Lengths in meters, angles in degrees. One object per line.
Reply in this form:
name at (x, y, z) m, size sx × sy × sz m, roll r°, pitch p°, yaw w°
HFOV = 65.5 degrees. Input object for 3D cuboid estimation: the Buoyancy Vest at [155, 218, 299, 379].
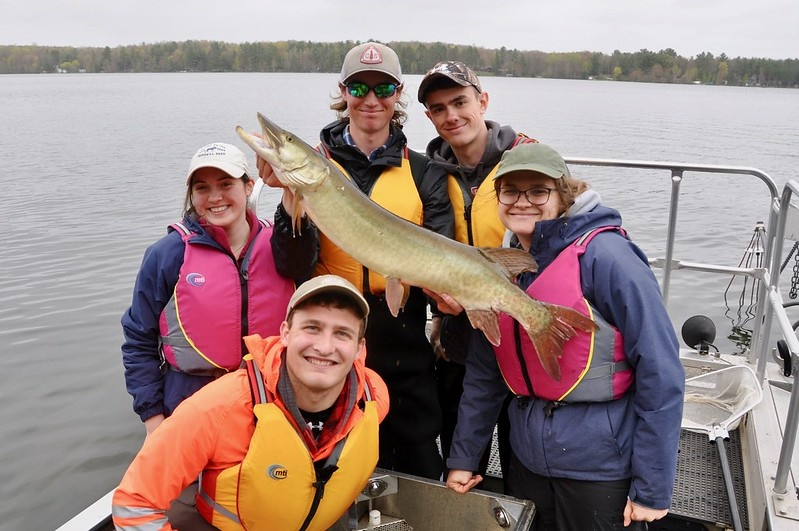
Buoyancy Vest at (-1.618, 0.286, 5.857) m, size 1.114 × 1.475 × 0.775 m, roll 2°, pitch -8°, yaw -39°

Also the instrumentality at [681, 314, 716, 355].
instrumentality at (3.575, 0.813, 7.477) m, size 0.410 × 0.509 × 0.415 m, roll -2°, pitch 1°, yaw 0°

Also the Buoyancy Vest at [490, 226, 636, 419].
Buoyancy Vest at (1.434, 0.383, 5.454) m, size 0.919 × 1.592 × 1.178 m, roll 6°, pitch -10°, yaw -37°

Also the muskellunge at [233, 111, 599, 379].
muskellunge at (0.025, -0.197, 5.307) m, size 3.369 × 0.733 × 0.539 m, roll 32°, pitch 26°, yaw 3°
